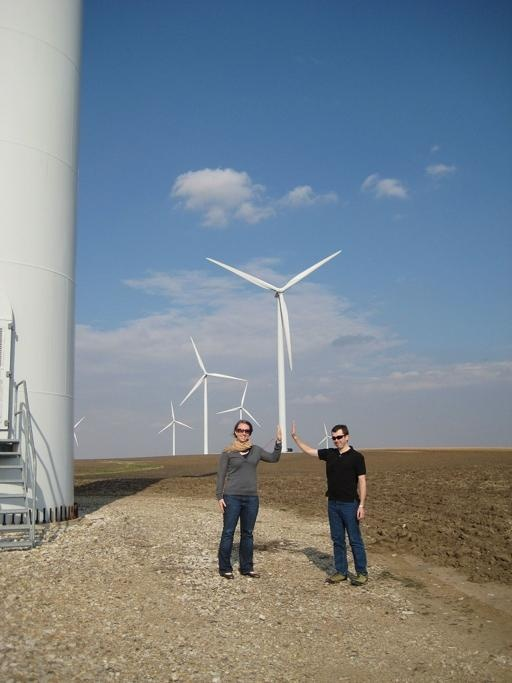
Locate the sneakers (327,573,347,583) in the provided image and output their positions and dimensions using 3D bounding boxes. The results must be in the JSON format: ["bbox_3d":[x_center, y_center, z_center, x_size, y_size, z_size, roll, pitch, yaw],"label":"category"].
[{"bbox_3d":[1.138,3.343,7.437,0.330,0.150,0.125,4,-8,-13],"label":"sneakers"}]

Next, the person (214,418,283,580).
[{"bbox_3d":[-0.221,2.262,7.454,0.738,2.343,0.980,-2,-3,41],"label":"person"}]
